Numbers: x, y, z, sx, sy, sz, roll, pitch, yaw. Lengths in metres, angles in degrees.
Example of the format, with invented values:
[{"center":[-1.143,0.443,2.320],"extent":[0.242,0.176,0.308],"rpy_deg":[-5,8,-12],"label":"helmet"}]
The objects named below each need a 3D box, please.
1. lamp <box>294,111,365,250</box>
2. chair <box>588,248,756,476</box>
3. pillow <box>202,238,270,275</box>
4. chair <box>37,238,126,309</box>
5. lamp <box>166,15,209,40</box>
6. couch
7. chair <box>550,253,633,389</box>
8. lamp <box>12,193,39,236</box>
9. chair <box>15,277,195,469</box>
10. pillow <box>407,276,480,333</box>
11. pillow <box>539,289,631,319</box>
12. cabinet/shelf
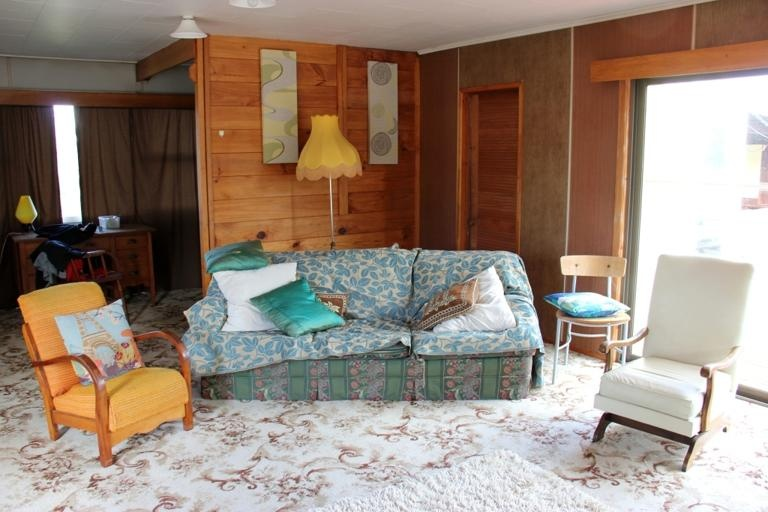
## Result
[{"center":[-0.590,-0.759,6.093],"extent":[0.669,1.506,0.718],"rpy_deg":[-6,14,-6],"label":"lamp"},{"center":[2.181,0.748,4.236],"extent":[0.820,1.398,1.019],"rpy_deg":[7,17,37],"label":"chair"},{"center":[-1.383,0.023,5.254],"extent":[0.470,0.106,0.417],"rpy_deg":[-7,23,-19],"label":"pillow"},{"center":[-3.427,0.241,6.817],"extent":[0.724,0.660,0.613],"rpy_deg":[-6,9,-27],"label":"chair"},{"center":[-1.778,-2.065,5.112],"extent":[0.436,0.141,0.352],"rpy_deg":[1,12,-2],"label":"lamp"},{"center":[-0.107,0.602,5.189],"extent":[3.344,0.870,1.160],"rpy_deg":[-3,25,14],"label":"couch"},{"center":[1.890,0.558,5.197],"extent":[0.892,0.881,0.733],"rpy_deg":[-3,18,14],"label":"chair"},{"center":[-4.465,-0.530,6.987],"extent":[0.252,0.467,0.462],"rpy_deg":[-12,15,-29],"label":"lamp"},{"center":[-2.162,0.850,4.377],"extent":[1.140,0.879,0.849],"rpy_deg":[16,17,35],"label":"chair"},{"center":[0.573,0.364,4.989],"extent":[0.563,0.139,0.454],"rpy_deg":[-9,40,22],"label":"pillow"},{"center":[1.845,0.440,4.976],"extent":[0.416,0.101,0.372],"rpy_deg":[-1,9,-21],"label":"pillow"},{"center":[-3.817,0.260,7.663],"extent":[2.273,1.000,0.684],"rpy_deg":[-6,-8,17],"label":"cabinet/shelf"}]
